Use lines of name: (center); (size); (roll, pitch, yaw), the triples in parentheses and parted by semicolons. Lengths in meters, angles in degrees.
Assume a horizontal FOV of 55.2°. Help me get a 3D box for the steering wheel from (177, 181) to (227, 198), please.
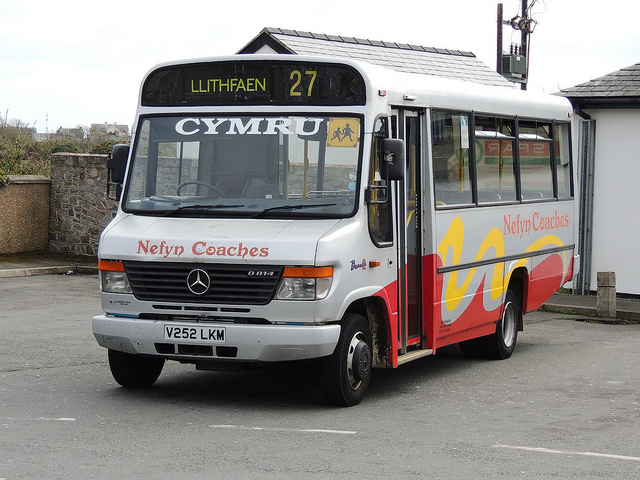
steering wheel: (-1.307, -0.543, 6.695); (0.599, 0.180, 0.065); (1, 0, 22)

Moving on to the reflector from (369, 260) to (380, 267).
reflector: (0.573, 0.261, 6.526); (0.017, 0.072, 0.213); (1, 0, 33)

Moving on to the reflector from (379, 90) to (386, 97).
reflector: (0.676, -1.602, 6.703); (0.025, 0.077, 0.143); (1, 0, 27)
